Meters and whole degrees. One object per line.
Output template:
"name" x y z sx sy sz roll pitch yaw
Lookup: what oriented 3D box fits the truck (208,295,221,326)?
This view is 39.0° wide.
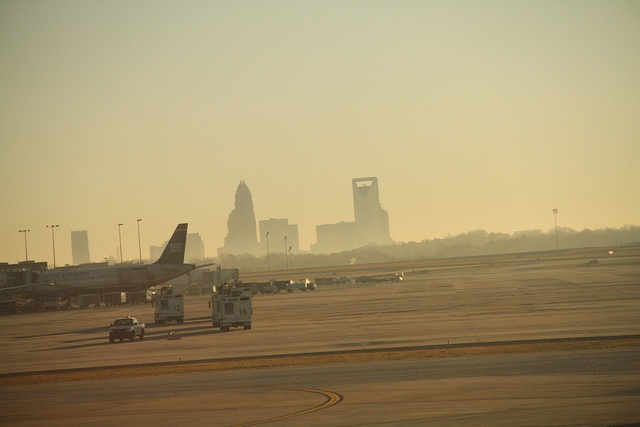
"truck" -11.769 11.237 103.233 1.013 3.863 3.538 -4 4 -6

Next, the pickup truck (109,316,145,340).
"pickup truck" -21.158 12.829 100.338 2.128 1.659 3.692 -1 -6 4

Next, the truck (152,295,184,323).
"truck" -18.877 11.810 113.483 2.990 2.311 4.018 0 1 -10
